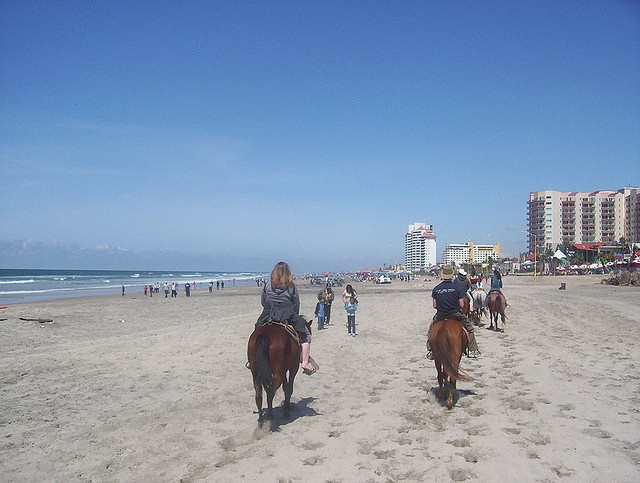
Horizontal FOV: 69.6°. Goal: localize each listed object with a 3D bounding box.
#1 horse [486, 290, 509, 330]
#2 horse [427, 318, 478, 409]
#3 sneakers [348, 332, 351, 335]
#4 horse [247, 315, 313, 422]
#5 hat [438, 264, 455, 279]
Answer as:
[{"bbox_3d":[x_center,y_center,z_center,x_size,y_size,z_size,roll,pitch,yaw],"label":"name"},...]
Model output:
[{"bbox_3d":[7.777,2.966,20.331,0.754,1.618,3.256,-1,-3,22],"label":"horse"},{"bbox_3d":[2.943,2.711,10.470,0.893,1.881,1.086,-1,-3,18],"label":"horse"},{"bbox_3d":[1.265,3.922,19.677,0.153,0.160,0.163,0,-5,3],"label":"sneakers"},{"bbox_3d":[-0.935,2.702,9.415,0.865,2.092,1.249,-1,-3,13],"label":"horse"},{"bbox_3d":[3.114,0.666,11.267,0.305,0.387,0.147,-7,-42,19],"label":"hat"}]
